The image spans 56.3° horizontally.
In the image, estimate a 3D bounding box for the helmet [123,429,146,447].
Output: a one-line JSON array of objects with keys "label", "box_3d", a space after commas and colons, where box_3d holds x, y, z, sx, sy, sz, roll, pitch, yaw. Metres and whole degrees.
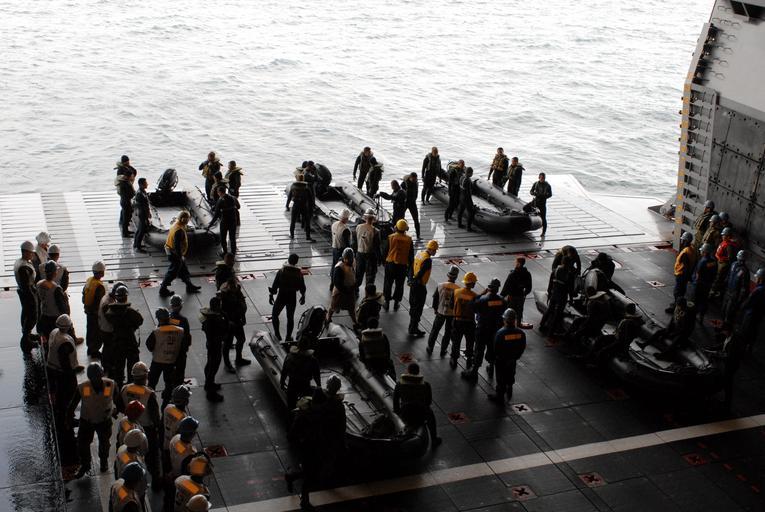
[{"label": "helmet", "box_3d": [-3.977, 2.914, 11.477, 0.335, 0.165, 0.225, 18, 33, 1]}]

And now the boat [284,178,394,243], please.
[{"label": "boat", "box_3d": [-1.228, -1.550, 23.419, 2.052, 0.753, 3.322, -10, 27, -21]}]

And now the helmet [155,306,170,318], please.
[{"label": "helmet", "box_3d": [-4.379, 1.136, 14.215, 0.241, 0.213, 0.219, -5, 28, -10]}]

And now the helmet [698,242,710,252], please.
[{"label": "helmet", "box_3d": [8.505, -0.203, 18.924, 0.326, 0.160, 0.207, -17, 31, 22]}]

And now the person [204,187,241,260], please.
[{"label": "person", "box_3d": [-4.561, -1.042, 20.820, 0.878, 1.973, 1.043, -13, 31, -23]}]

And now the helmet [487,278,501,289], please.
[{"label": "helmet", "box_3d": [2.455, 0.614, 15.973, 0.225, 0.196, 0.325, 17, 26, 27]}]

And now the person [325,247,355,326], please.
[{"label": "person", "box_3d": [-1.025, 0.762, 17.338, 0.728, 1.903, 0.652, -2, 29, -4]}]

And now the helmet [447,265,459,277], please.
[{"label": "helmet", "box_3d": [1.614, 0.302, 16.387, 0.215, 0.177, 0.280, 6, 42, 7]}]

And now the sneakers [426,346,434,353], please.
[{"label": "sneakers", "box_3d": [1.098, 2.256, 17.085, 0.154, 0.120, 0.234, 0, 4, 1]}]

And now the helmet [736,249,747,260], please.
[{"label": "helmet", "box_3d": [9.085, -0.034, 18.161, 0.221, 0.315, 0.344, 14, 30, 24]}]

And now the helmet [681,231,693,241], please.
[{"label": "helmet", "box_3d": [8.434, -0.551, 19.918, 0.352, 0.168, 0.233, 16, 32, 4]}]

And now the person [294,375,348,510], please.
[{"label": "person", "box_3d": [-1.125, 3.366, 12.782, 1.031, 2.384, 0.736, -12, 31, -22]}]

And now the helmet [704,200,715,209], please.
[{"label": "helmet", "box_3d": [9.437, -1.504, 20.903, 0.264, 0.168, 0.320, -16, 33, -40]}]

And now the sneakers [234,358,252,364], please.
[{"label": "sneakers", "box_3d": [-3.204, 2.409, 16.369, 0.405, 0.156, 0.129, -5, 38, -27]}]

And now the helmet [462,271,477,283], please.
[{"label": "helmet", "box_3d": [1.969, 0.458, 16.236, 0.250, 0.162, 0.319, 4, 38, 15]}]

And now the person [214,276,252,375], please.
[{"label": "person", "box_3d": [-3.366, 1.632, 15.930, 0.859, 2.323, 0.852, 11, 44, 8]}]

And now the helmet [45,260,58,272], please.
[{"label": "helmet", "box_3d": [-7.215, 0.243, 15.563, 0.201, 0.285, 0.381, -9, 29, -17]}]

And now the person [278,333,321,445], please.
[{"label": "person", "box_3d": [-1.612, 2.590, 14.085, 0.831, 1.929, 0.490, 4, 13, -8]}]

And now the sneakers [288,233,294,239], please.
[{"label": "sneakers", "box_3d": [-2.848, -0.622, 22.240, 0.110, 0.184, 0.200, -10, 32, -25]}]

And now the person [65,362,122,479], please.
[{"label": "person", "box_3d": [-5.293, 2.977, 13.092, 0.965, 2.275, 0.515, -12, 31, -20]}]

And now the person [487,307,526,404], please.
[{"label": "person", "box_3d": [2.672, 2.146, 15.392, 0.650, 2.156, 0.654, 5, 29, 9]}]

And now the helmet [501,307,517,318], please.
[{"label": "helmet", "box_3d": [2.655, 1.190, 15.199, 0.230, 0.144, 0.286, -5, 30, -7]}]

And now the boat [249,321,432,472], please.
[{"label": "boat", "box_3d": [-1.051, 2.740, 15.197, 2.735, 0.803, 5.585, 0, 19, -27]}]

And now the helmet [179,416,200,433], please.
[{"label": "helmet", "box_3d": [-3.197, 2.775, 11.878, 0.249, 0.279, 0.299, 14, 47, 2]}]

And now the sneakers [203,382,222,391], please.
[{"label": "sneakers", "box_3d": [-3.682, 2.812, 15.388, 0.270, 0.169, 0.087, -19, 47, -27]}]

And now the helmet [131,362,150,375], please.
[{"label": "helmet", "box_3d": [-4.381, 2.050, 12.961, 0.262, 0.168, 0.346, 1, 27, -7]}]

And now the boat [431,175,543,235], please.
[{"label": "boat", "box_3d": [3.614, -1.680, 23.908, 1.648, 0.944, 3.234, -17, 39, -28]}]

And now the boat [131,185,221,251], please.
[{"label": "boat", "box_3d": [-6.467, -1.218, 22.493, 2.499, 0.972, 4.828, -6, 21, -24]}]

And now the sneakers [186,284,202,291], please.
[{"label": "sneakers", "box_3d": [-5.030, 0.891, 19.026, 0.371, 0.249, 0.120, -11, 72, -22]}]

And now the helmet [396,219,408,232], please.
[{"label": "helmet", "box_3d": [0.523, -0.804, 18.433, 0.284, 0.312, 0.335, 4, -12, -8]}]

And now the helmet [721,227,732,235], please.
[{"label": "helmet", "box_3d": [9.214, -0.657, 19.253, 0.250, 0.125, 0.172, -1, 25, -7]}]

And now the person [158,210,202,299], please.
[{"label": "person", "box_3d": [-5.460, -0.002, 18.656, 1.122, 2.076, 1.050, -12, 31, -22]}]

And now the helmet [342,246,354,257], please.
[{"label": "helmet", "box_3d": [-0.833, -0.105, 17.097, 0.219, 0.246, 0.251, 3, -3, -14]}]

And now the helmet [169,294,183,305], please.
[{"label": "helmet", "box_3d": [-4.468, 0.949, 15.414, 0.287, 0.190, 0.375, 3, 32, -8]}]

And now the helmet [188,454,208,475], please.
[{"label": "helmet", "box_3d": [-2.884, 3.261, 11.224, 0.258, 0.250, 0.317, -5, 9, -7]}]

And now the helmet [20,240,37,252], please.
[{"label": "helmet", "box_3d": [-8.350, -0.222, 16.862, 0.359, 0.169, 0.271, 13, 19, 10]}]

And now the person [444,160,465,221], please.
[{"label": "person", "box_3d": [2.365, -2.112, 23.791, 0.778, 2.173, 0.841, -4, 56, -3]}]

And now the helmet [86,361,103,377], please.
[{"label": "helmet", "box_3d": [-5.134, 2.014, 12.763, 0.246, 0.253, 0.263, -4, 45, -13]}]
